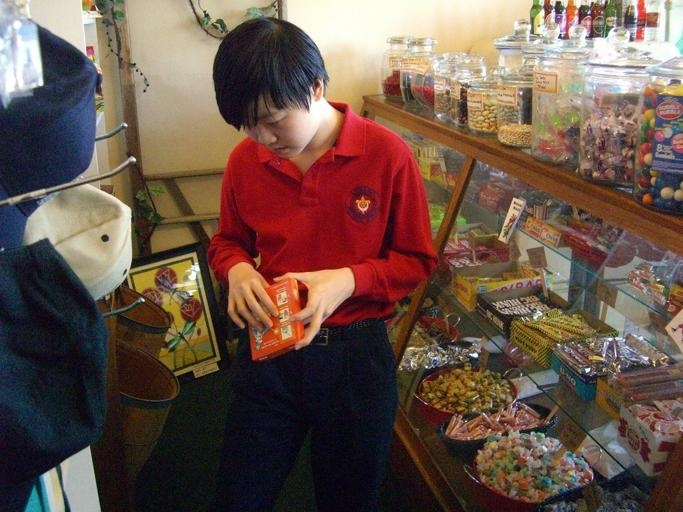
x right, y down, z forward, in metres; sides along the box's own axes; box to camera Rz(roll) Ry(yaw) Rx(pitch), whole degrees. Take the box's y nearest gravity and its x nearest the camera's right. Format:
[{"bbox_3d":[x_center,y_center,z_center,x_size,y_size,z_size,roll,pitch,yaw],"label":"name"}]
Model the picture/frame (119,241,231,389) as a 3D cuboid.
[{"bbox_3d":[-0.904,0.347,2.636,0.685,0.657,0.046,-23,1,-25],"label":"picture/frame"}]
